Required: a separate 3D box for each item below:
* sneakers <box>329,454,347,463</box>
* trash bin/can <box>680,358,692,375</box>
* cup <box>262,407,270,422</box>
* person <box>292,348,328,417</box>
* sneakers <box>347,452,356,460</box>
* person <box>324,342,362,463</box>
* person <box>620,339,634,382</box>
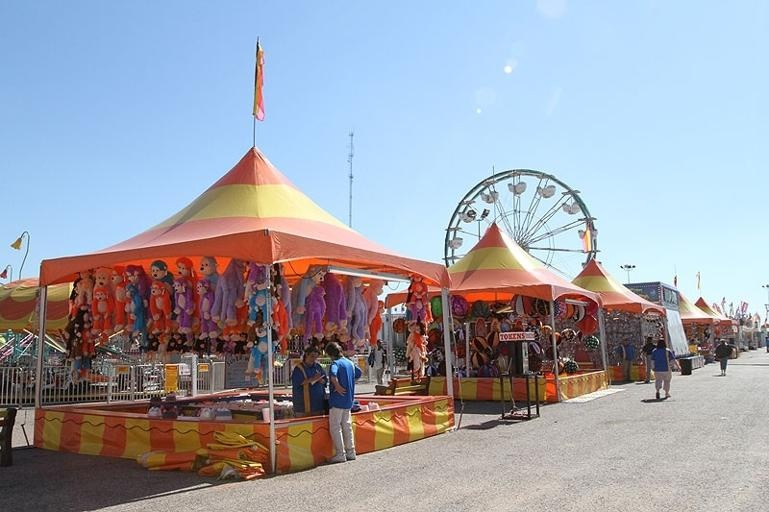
[{"bbox_3d":[-0.809,3.466,9.258,0.268,0.202,0.101,0,-8,6],"label":"sneakers"},{"bbox_3d":[14.560,5.444,26.611,0.512,0.790,0.623,-11,-16,27],"label":"trash bin/can"},{"bbox_3d":[-2.041,2.718,9.292,0.106,0.224,0.357,2,-16,-19],"label":"cup"},{"bbox_3d":[-1.307,2.220,9.550,0.618,1.173,0.549,1,-14,-15],"label":"person"},{"bbox_3d":[-0.598,3.481,9.385,0.141,0.150,0.092,-3,-5,5],"label":"sneakers"},{"bbox_3d":[-0.719,2.526,9.360,0.526,1.979,0.616,-3,-14,0],"label":"person"},{"bbox_3d":[10.270,4.480,23.344,0.353,1.678,0.551,8,-17,-37],"label":"person"}]
